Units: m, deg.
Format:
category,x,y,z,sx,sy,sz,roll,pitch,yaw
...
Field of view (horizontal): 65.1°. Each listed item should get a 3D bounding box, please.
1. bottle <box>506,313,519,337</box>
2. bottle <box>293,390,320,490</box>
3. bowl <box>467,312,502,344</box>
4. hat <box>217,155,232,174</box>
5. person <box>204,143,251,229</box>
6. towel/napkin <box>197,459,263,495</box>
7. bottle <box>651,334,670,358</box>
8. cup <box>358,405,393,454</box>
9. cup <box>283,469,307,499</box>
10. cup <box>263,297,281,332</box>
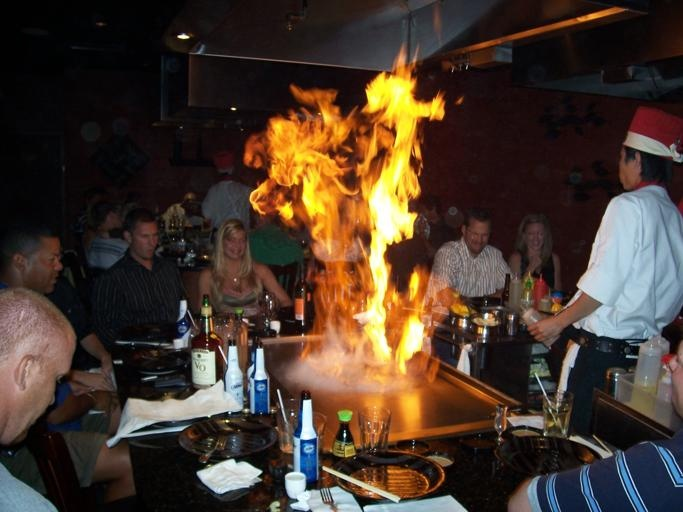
category,x,y,z,sx,sy,sz,roll,pitch,yaw
bottle,1.065,0.417,3.328,0.072,0.137,0.082,3,6,17
bottle,-0.116,0.588,1.779,0.087,0.313,0.163,0,6,-8
bowl,0.898,0.440,3.331,0.164,0.117,0.158,1,10,0
hat,-1.418,-1.116,6.508,0.196,0.159,0.201,-8,17,4
person,-1.395,-0.799,6.448,0.569,0.959,0.779,0,6,-10
towel/napkin,-0.364,0.722,1.767,0.165,0.045,0.163,6,7,41
bottle,1.460,0.413,2.448,0.043,0.041,0.123,3,7,21
cup,0.119,0.614,1.913,0.132,0.156,0.135,3,0,0
cup,-0.144,0.714,1.682,0.066,0.058,0.069,-2,-7,0
cup,-0.415,0.335,3.221,0.103,0.225,0.223,0,5,-6
